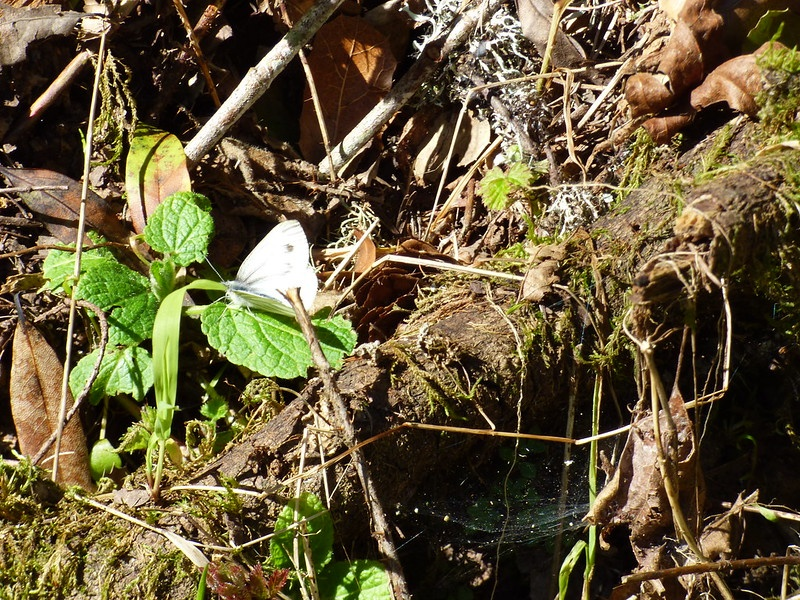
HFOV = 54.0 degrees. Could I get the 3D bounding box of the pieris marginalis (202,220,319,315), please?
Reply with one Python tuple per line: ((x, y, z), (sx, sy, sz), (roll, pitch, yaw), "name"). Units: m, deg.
((-0.407, -0.103, 2.439), (0.288, 0.296, 0.185), (12, 13, 35), "pieris marginalis")
